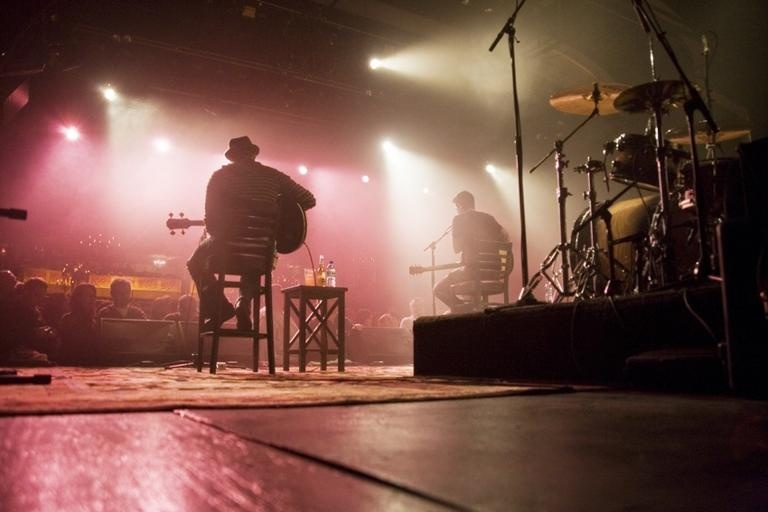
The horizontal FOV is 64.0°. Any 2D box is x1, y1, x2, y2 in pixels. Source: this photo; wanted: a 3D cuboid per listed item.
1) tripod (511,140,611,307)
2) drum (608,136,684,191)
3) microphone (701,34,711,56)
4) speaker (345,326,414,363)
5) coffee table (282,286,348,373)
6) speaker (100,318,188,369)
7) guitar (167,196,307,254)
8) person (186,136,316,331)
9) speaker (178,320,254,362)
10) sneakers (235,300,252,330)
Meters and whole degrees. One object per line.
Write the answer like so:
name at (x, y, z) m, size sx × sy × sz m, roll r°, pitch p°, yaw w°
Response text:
tripod at (1.891, -0.276, 6.472) m, size 1.203 × 1.594 × 1.201 m, roll -2°, pitch -2°, yaw 13°
drum at (2.918, -1.081, 6.952) m, size 0.684 × 0.340 × 0.526 m, roll 15°, pitch 6°, yaw 31°
microphone at (4.317, -2.824, 8.229) m, size 0.107 × 0.313 × 0.363 m, roll 2°, pitch 8°, yaw 27°
speaker at (-0.066, 1.444, 9.873) m, size 0.897 × 0.498 × 0.642 m, roll 7°, pitch -18°, yaw -23°
coffee table at (-0.705, 0.841, 7.286) m, size 0.967 × 0.931 × 0.991 m, roll 0°, pitch -5°, yaw 19°
speaker at (-3.136, 1.105, 7.897) m, size 0.891 × 0.662 × 0.552 m, roll 2°, pitch -3°, yaw -17°
guitar at (-1.488, -0.318, 6.447) m, size 1.206 × 0.729 × 0.695 m, roll -2°, pitch 18°, yaw -22°
person at (-1.360, -0.206, 6.189) m, size 1.145 × 1.973 × 0.729 m, roll -4°, pitch 8°, yaw -18°
speaker at (-2.297, 0.950, 8.455) m, size 0.869 × 0.856 × 0.648 m, roll 9°, pitch -20°, yaw -30°
sneakers at (-1.470, 0.621, 6.444) m, size 0.121 × 0.377 × 0.145 m, roll 3°, pitch 2°, yaw -11°
